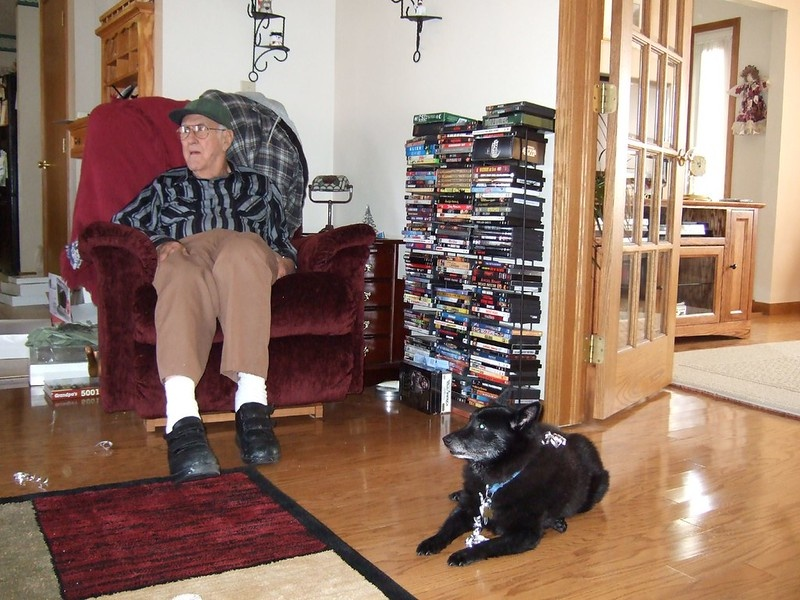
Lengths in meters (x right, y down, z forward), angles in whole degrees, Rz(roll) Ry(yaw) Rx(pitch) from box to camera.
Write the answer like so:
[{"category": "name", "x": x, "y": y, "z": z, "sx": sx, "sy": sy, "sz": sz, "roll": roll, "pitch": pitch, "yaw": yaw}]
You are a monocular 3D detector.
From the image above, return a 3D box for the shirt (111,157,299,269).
[{"category": "shirt", "x": -0.807, "y": -0.385, "z": 2.908, "sx": 0.863, "sy": 0.466, "sz": 0.484, "roll": 4, "pitch": 19, "yaw": 25}]

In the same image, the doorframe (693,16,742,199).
[{"category": "doorframe", "x": 3.389, "y": -2.041, "z": 6.831, "sx": 0.397, "sy": 1.858, "sz": 0.589, "roll": -6, "pitch": 12, "yaw": -43}]

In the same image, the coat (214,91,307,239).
[{"category": "coat", "x": -0.662, "y": -0.679, "z": 3.320, "sx": 0.576, "sy": 0.722, "sz": 0.235, "roll": 2, "pitch": 4, "yaw": -2}]

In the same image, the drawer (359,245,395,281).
[{"category": "drawer", "x": -0.128, "y": -0.222, "z": 3.500, "sx": 0.230, "sy": 0.225, "sz": 0.165, "roll": -7, "pitch": 12, "yaw": -43}]

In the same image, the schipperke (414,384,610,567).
[{"category": "schipperke", "x": 0.335, "y": 0.496, "z": 1.921, "sx": 0.567, "sy": 0.338, "sz": 0.357, "roll": -7, "pitch": 6, "yaw": -38}]

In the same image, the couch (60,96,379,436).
[{"category": "couch", "x": -0.819, "y": -0.248, "z": 2.982, "sx": 1.352, "sy": 1.434, "sz": 1.147, "roll": -4, "pitch": 9, "yaw": -41}]

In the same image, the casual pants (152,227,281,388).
[{"category": "casual pants", "x": -0.739, "y": 0.025, "z": 2.388, "sx": 0.420, "sy": 0.509, "sz": 0.399, "roll": -6, "pitch": 12, "yaw": -42}]

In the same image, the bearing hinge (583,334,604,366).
[{"category": "bearing hinge", "x": 0.911, "y": 0.236, "z": 2.923, "sx": 0.080, "sy": 0.135, "sz": 0.022, "roll": 5, "pitch": 9, "yaw": 19}]

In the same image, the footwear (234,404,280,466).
[{"category": "footwear", "x": -0.529, "y": 0.494, "z": 2.313, "sx": 0.106, "sy": 0.134, "sz": 0.288, "roll": -2, "pitch": 9, "yaw": -20}]

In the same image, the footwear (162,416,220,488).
[{"category": "footwear", "x": -0.688, "y": 0.513, "z": 2.067, "sx": 0.106, "sy": 0.123, "sz": 0.275, "roll": -1, "pitch": 0, "yaw": -20}]

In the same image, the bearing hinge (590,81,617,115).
[{"category": "bearing hinge", "x": 0.916, "y": -0.912, "z": 2.830, "sx": 0.138, "sy": 0.186, "sz": 0.060, "roll": -3, "pitch": 10, "yaw": -3}]
